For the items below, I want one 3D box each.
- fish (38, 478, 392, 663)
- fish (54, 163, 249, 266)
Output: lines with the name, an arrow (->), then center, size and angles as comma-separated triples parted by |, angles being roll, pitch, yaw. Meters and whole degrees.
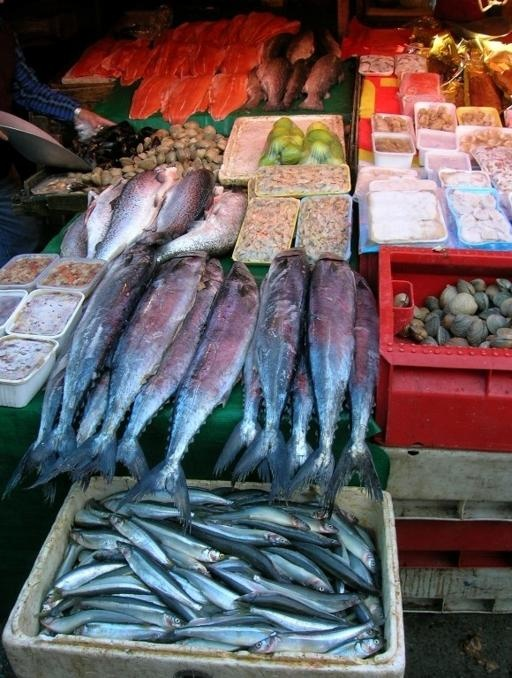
fish -> -0.108, 0.630, 1.531 | 0.812, 0.216, 0.436 | 1, 33, 4
fish -> -0.469, -0.616, 2.700 | 0.641, 0.299, 0.711 | 5, 45, 16
